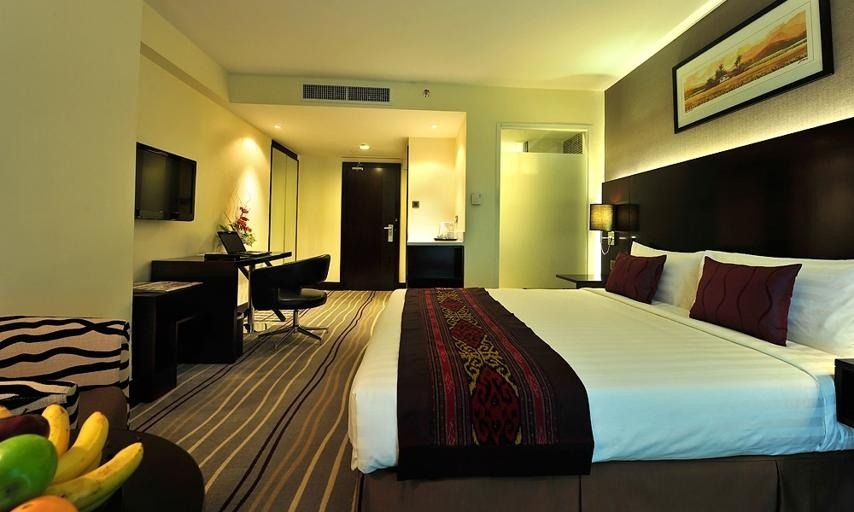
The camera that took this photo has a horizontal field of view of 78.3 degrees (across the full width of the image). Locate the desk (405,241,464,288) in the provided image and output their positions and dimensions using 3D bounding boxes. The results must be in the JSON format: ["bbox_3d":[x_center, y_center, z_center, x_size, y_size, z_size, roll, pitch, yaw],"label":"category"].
[{"bbox_3d":[0.115,0.081,6.622,0.734,0.621,0.513,-1,14,-2],"label":"desk"}]

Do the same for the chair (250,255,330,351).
[{"bbox_3d":[-1.393,0.486,5.750,0.915,0.963,0.952,2,-2,-6],"label":"chair"}]

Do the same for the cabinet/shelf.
[{"bbox_3d":[-2.233,0.734,4.484,0.345,0.855,1.014,0,3,-10],"label":"cabinet/shelf"}]

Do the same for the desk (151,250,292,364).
[{"bbox_3d":[-2.093,0.548,5.250,0.858,1.021,1.638,0,3,-8],"label":"desk"}]

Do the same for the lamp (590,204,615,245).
[{"bbox_3d":[2.041,-0.363,6.096,0.270,0.471,0.439,1,3,17],"label":"lamp"}]

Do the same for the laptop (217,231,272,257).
[{"bbox_3d":[-2.088,-0.137,5.830,0.395,0.225,0.409,1,3,-5],"label":"laptop"}]
